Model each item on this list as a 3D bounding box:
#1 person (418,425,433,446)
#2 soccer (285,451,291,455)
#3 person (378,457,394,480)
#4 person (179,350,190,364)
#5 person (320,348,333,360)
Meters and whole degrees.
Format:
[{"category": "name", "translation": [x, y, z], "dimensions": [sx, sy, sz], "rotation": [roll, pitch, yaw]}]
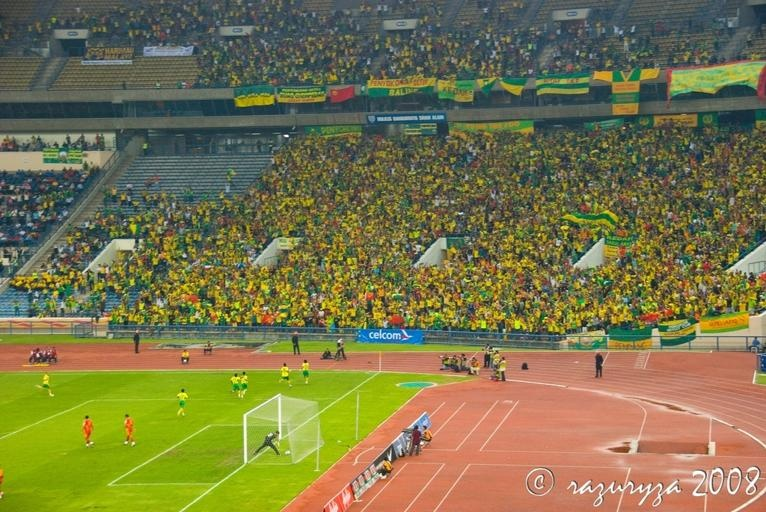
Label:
[{"category": "person", "translation": [3.016, 12.907, 109.314], "dimensions": [0.890, 1.178, 0.462], "rotation": [3, -8, 13]}, {"category": "soccer", "translation": [-6.845, 14.036, 108.943], "dimensions": [0.339, 0.202, 0.326], "rotation": [-16, 26, 4]}, {"category": "person", "translation": [0.228, 14.815, 105.940], "dimensions": [0.865, 1.203, 0.697], "rotation": [5, -9, 44]}, {"category": "person", "translation": [-16.722, 8.496, 128.040], "dimensions": [0.762, 1.505, 0.993], "rotation": [2, -22, -11]}, {"category": "person", "translation": [-4.756, 8.202, 128.001], "dimensions": [0.901, 0.946, 0.900], "rotation": [1, -5, -5]}]
